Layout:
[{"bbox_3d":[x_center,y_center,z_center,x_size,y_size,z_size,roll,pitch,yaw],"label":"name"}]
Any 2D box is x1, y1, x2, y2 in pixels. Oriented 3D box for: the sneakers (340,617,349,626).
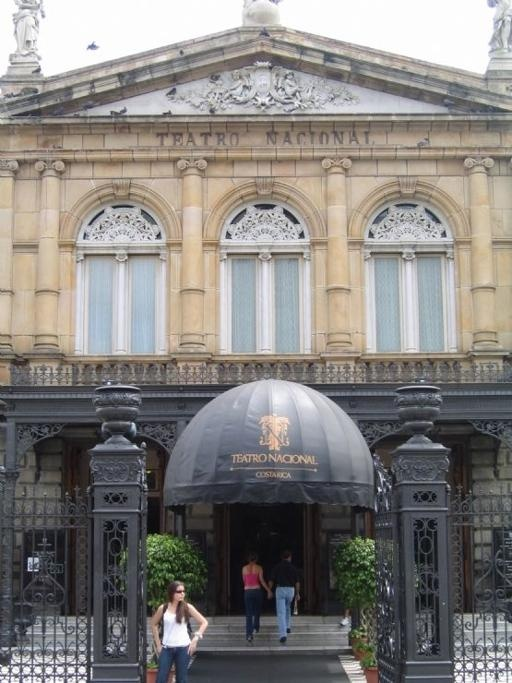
[{"bbox_3d":[1.546,4.867,27.267,0.137,0.062,0.188,1,-1,9],"label":"sneakers"}]
